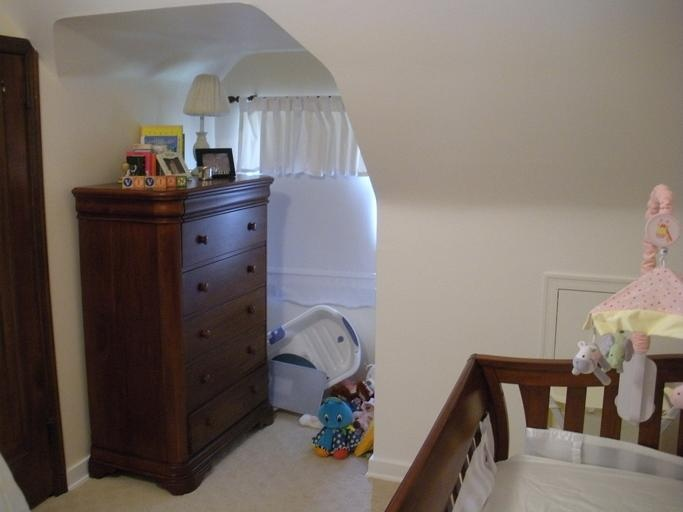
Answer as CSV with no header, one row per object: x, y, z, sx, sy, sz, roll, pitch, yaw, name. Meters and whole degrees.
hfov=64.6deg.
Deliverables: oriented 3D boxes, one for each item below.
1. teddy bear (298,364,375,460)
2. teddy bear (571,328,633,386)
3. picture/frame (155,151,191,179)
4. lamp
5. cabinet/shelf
0.031,0.798,3.190,0.575,0.614,0.359,-1,-4,14,teddy bear
0.845,0.326,1.795,0.151,0.172,0.214,-13,-12,21,teddy bear
-0.852,-0.468,2.775,0.165,0.128,0.212,-6,12,-30,picture/frame
-0.831,-0.857,3.325,0.257,0.506,0.406,-3,10,-17,lamp
-0.799,0.377,2.840,0.994,1.528,0.482,-9,13,-41,cabinet/shelf
